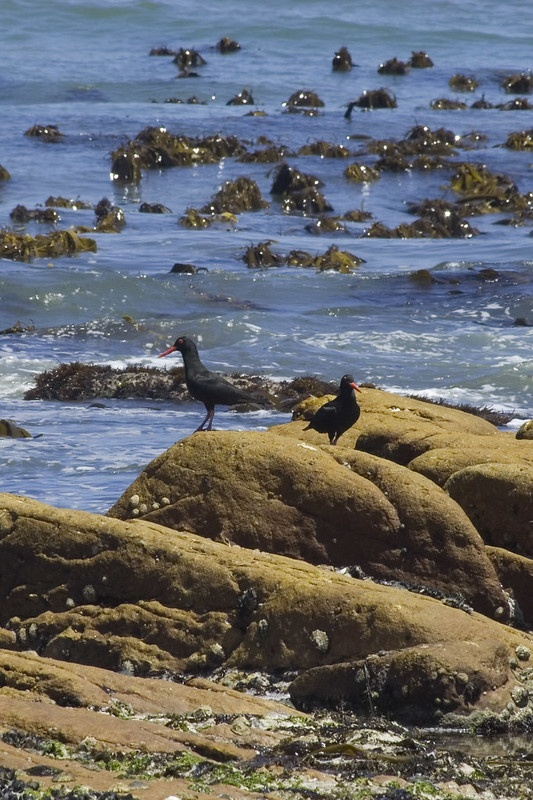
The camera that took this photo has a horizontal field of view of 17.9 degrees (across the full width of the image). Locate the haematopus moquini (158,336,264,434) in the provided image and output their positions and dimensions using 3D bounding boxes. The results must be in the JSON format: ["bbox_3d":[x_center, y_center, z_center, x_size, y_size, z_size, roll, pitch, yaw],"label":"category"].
[{"bbox_3d":[-0.578,-0.203,19.352,1.247,1.028,0.406,2,2,-6],"label":"haematopus moquini"}]
